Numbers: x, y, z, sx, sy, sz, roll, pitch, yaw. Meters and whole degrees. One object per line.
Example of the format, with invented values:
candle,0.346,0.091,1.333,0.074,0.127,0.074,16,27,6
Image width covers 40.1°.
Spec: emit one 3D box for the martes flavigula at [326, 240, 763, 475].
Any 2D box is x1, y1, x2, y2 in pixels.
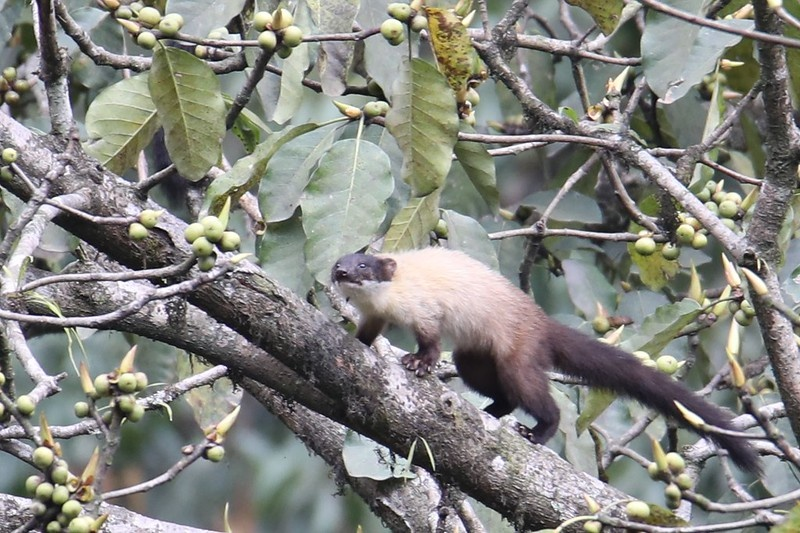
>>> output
martes flavigula,0.790,0.521,6.468,2.103,0.552,0.722,26,76,3
